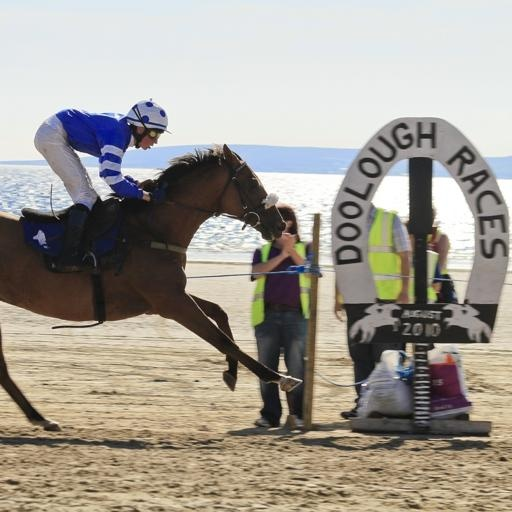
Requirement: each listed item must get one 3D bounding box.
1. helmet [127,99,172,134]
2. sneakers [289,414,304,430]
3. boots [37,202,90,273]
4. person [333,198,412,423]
[{"bbox_3d":[-0.756,-1.065,7.293,0.407,0.177,0.274,18,29,33],"label":"helmet"},{"bbox_3d":[0.301,1.284,7.471,0.155,0.094,0.079,-8,-8,21],"label":"sneakers"},{"bbox_3d":[-1.325,-0.127,7.006,0.304,0.490,0.153,1,9,-20],"label":"boots"},{"bbox_3d":[0.955,0.452,7.941,0.600,1.739,1.131,5,8,5],"label":"person"}]
